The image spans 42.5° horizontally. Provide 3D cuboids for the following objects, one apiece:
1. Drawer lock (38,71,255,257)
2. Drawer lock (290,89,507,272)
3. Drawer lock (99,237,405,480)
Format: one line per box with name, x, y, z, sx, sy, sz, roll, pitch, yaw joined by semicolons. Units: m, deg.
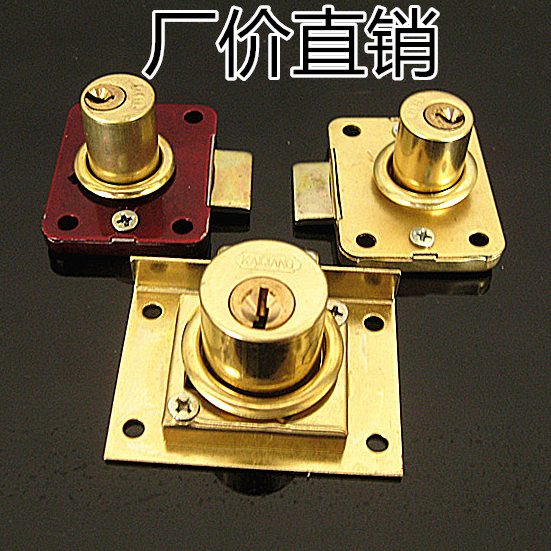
Drawer lock;-0.159;-0.167;0.887;0.259;0.161;0.251;1;63;-3
Drawer lock;0.156;-0.147;0.917;0.220;0.163;0.276;1;50;-7
Drawer lock;-0.018;0.035;0.734;0.300;0.188;0.271;3;47;2
